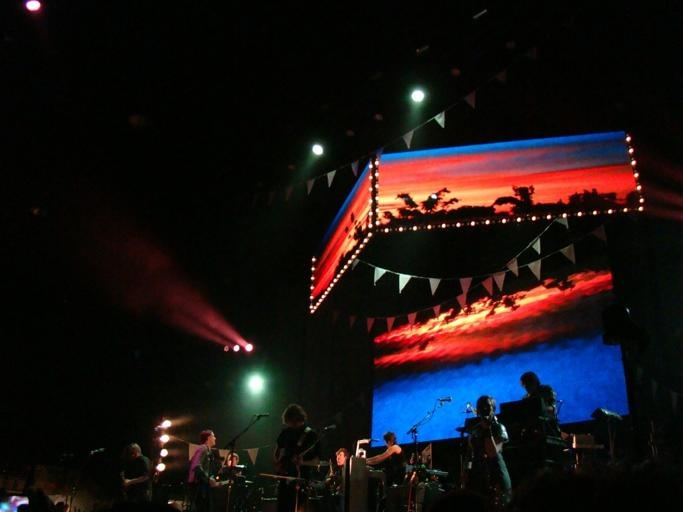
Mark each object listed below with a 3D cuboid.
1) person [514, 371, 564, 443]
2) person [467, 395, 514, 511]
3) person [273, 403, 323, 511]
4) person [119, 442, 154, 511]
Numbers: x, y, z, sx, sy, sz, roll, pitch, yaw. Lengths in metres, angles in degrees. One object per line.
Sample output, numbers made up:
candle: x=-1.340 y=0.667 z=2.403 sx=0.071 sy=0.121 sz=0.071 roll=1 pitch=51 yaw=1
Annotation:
person: x=3.269 y=2.362 z=10.898 sx=0.622 sy=1.227 sz=1.412 roll=-5 pitch=-25 yaw=13
person: x=2.096 y=2.859 z=9.752 sx=0.624 sy=1.575 sz=0.488 roll=-10 pitch=-26 yaw=25
person: x=-0.706 y=3.164 z=10.586 sx=0.679 sy=1.616 sz=0.711 roll=4 pitch=-24 yaw=-6
person: x=-3.753 y=3.940 z=12.303 sx=0.584 sy=0.992 sz=0.378 roll=10 pitch=-25 yaw=-18
